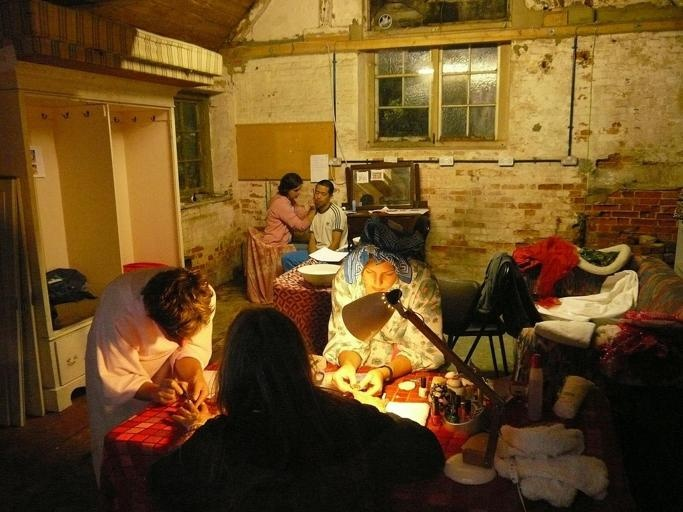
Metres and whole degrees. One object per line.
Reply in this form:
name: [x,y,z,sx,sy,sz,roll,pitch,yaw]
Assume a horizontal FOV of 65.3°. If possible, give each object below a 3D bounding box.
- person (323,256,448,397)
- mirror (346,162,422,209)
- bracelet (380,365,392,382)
person: [0.202,0.348,2.862,0.593,0.586,0.765,8,18,17]
mirror: [0.519,-0.891,6.873,0.908,0.579,0.055,1,7,23]
bracelet: [0.223,0.576,2.618,0.048,0.062,0.064,-8,28,-19]
